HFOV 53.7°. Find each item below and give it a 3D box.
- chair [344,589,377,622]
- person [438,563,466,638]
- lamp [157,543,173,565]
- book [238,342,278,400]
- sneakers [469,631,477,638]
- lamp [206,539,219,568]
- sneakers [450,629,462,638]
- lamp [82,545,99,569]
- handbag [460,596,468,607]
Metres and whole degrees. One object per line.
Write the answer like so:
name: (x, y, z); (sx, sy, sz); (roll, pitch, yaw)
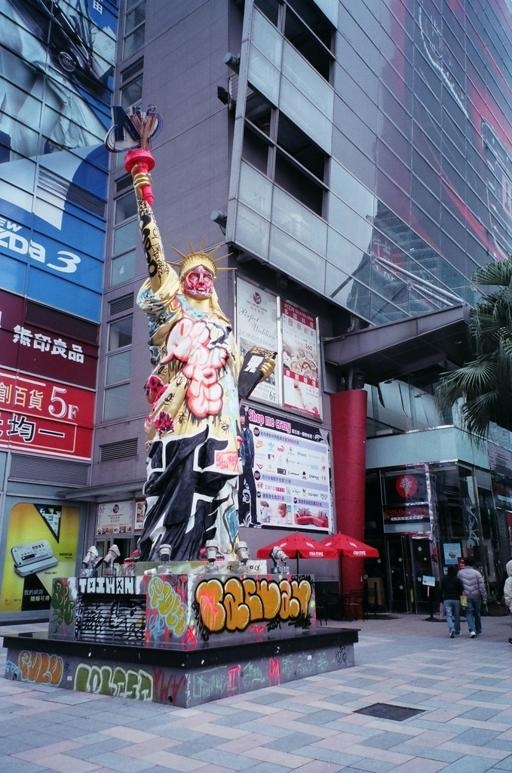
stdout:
chair: (2.916, 6.652, 15.147); (0.648, 0.727, 0.940); (-5, -15, 8)
person: (4.140, 4.567, 10.552); (0.422, 1.471, 0.926); (-7, -16, 17)
lamp: (-0.945, 1.805, 5.422); (0.196, 0.228, 0.228); (2, -46, -7)
book: (-0.008, -0.162, 8.250); (0.545, 0.871, 0.258); (15, -29, 24)
sneakers: (4.390, 5.106, 10.220); (0.116, 0.121, 0.099); (1, -23, 20)
lamp: (-0.488, 1.857, 5.538); (0.119, 0.242, 0.333); (0, -15, -7)
sneakers: (4.024, 5.107, 10.223); (0.109, 0.137, 0.323); (2, -35, 1)
lamp: (-2.158, 2.227, 6.494); (0.235, 0.242, 0.363); (6, -22, -19)
handbag: (4.300, 4.526, 10.436); (0.122, 0.246, 0.343); (-9, -16, 23)
